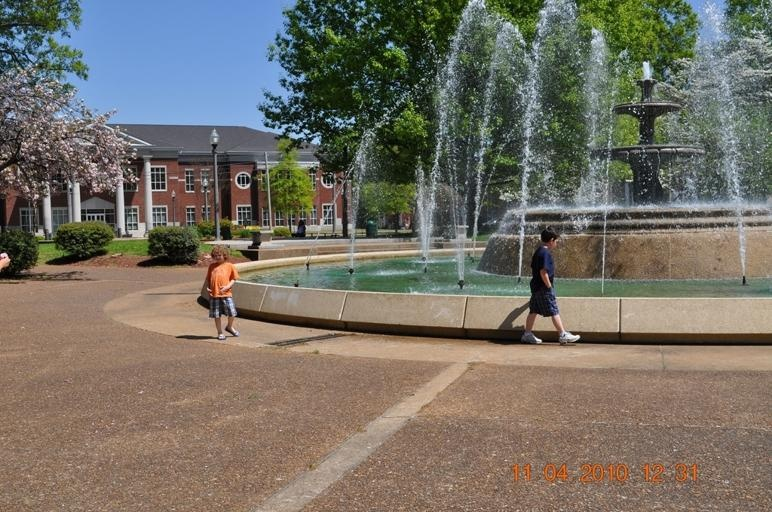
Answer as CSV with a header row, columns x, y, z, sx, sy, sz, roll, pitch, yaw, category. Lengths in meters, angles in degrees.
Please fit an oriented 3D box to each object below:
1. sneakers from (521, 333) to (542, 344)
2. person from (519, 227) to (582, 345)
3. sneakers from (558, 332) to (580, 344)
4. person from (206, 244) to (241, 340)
x,y,z,sx,sy,sz,roll,pitch,yaw,category
2.459,1.379,10.267,0.305,0.136,0.165,0,3,-8,sneakers
2.734,0.532,10.158,0.692,1.878,0.762,-8,9,-43,person
3.069,1.352,10.150,0.395,0.197,0.153,-3,18,-1,sneakers
-3.048,0.661,11.324,0.538,1.686,1.018,-4,7,-16,person
